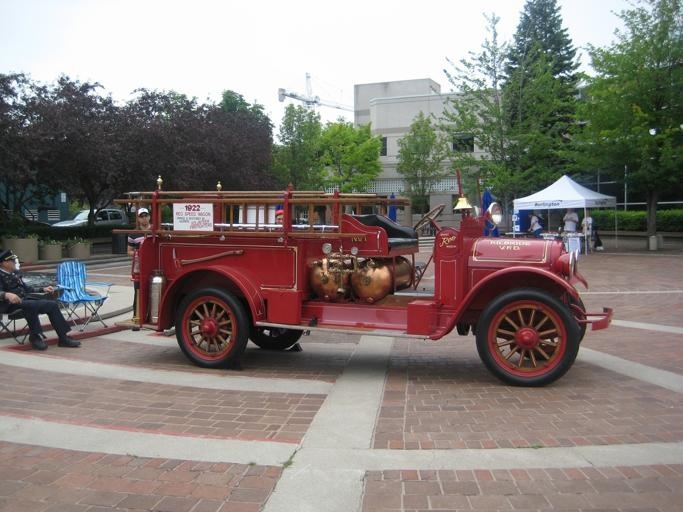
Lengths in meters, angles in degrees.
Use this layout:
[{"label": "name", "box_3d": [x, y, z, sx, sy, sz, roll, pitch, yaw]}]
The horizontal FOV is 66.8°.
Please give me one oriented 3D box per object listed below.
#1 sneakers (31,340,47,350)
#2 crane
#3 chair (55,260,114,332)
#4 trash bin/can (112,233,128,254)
[{"label": "sneakers", "box_3d": [-4.642, 1.346, 7.942, 0.244, 0.139, 0.150, 4, 6, 39]}, {"label": "crane", "box_3d": [-6.888, -45.591, 144.185, 26.555, 9.522, 6.850, 20, 39, 25]}, {"label": "chair", "box_3d": [-4.655, 0.685, 9.245, 0.761, 1.044, 0.779, 8, 8, 28]}, {"label": "trash bin/can", "box_3d": [-10.976, -0.595, 25.476, 0.661, 0.930, 1.364, -3, 5, -24]}]
